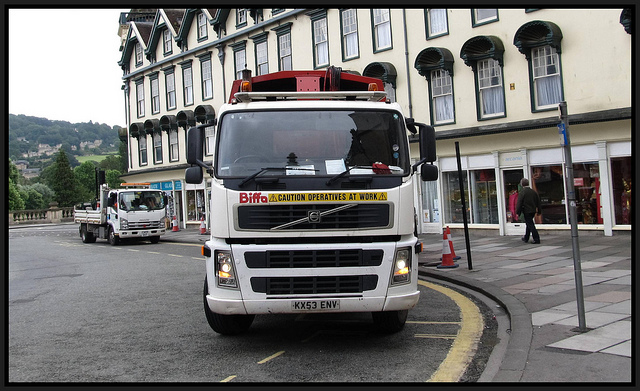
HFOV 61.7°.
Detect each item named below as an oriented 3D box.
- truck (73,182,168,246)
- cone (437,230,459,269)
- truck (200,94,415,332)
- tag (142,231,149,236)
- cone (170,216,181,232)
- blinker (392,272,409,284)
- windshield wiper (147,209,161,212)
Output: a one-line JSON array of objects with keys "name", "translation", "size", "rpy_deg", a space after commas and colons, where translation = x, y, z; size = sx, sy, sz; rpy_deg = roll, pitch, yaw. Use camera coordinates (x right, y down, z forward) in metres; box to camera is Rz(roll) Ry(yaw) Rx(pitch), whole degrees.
[{"name": "truck", "translation": [-10.730, 1.205, 28.700], "size": [2.484, 2.722, 5.823], "rpy_deg": [2, -6, -36]}, {"name": "cone", "translation": [3.534, 1.464, 14.863], "size": [0.574, 1.020, 0.615], "rpy_deg": [-1, 5, 14]}, {"name": "truck", "translation": [-0.403, 0.045, 12.514], "size": [4.253, 4.357, 7.263], "rpy_deg": [-1, 3, -6]}, {"name": "tag", "translation": [-8.635, 1.888, 26.542], "size": [0.329, 0.173, 0.218], "rpy_deg": [4, -16, -11]}, {"name": "cone", "translation": [-9.512, 1.892, 35.288], "size": [0.831, 1.072, 0.815], "rpy_deg": [2, 0, -4]}, {"name": "blinker", "translation": [1.327, 1.389, 8.975], "size": [0.214, 0.210, 0.051], "rpy_deg": [3, -1, -6]}, {"name": "windshield wiper", "translation": [-8.403, 0.733, 26.986], "size": [0.597, 0.067, 0.067], "rpy_deg": [-7, 7, -43]}]
